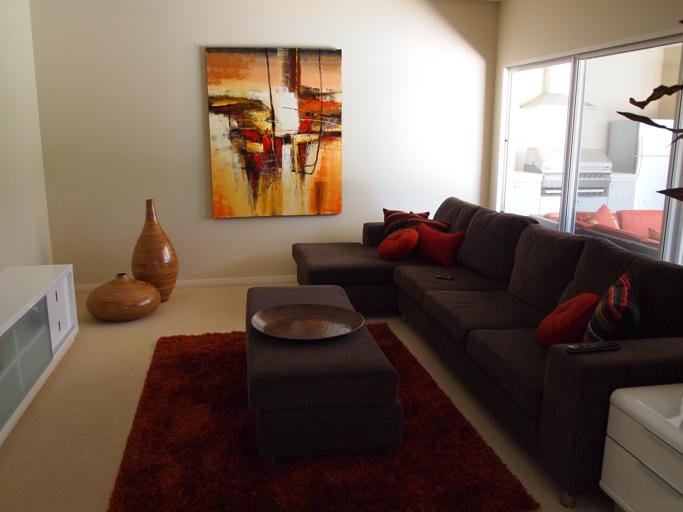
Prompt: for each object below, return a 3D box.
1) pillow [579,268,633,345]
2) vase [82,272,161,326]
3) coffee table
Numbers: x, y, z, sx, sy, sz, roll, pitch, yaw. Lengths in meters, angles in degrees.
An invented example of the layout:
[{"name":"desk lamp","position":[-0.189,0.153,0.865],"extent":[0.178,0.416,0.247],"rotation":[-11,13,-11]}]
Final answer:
[{"name":"pillow","position":[1.481,0.288,2.591],"extent":[0.396,0.301,0.209],"rotation":[-15,21,-41]},{"name":"vase","position":[-1.983,0.398,4.376],"extent":[0.440,0.264,0.517],"rotation":[0,9,-6]},{"name":"coffee table","position":[-0.106,0.397,2.634],"extent":[0.625,0.370,1.315],"rotation":[-2,17,-9]}]
